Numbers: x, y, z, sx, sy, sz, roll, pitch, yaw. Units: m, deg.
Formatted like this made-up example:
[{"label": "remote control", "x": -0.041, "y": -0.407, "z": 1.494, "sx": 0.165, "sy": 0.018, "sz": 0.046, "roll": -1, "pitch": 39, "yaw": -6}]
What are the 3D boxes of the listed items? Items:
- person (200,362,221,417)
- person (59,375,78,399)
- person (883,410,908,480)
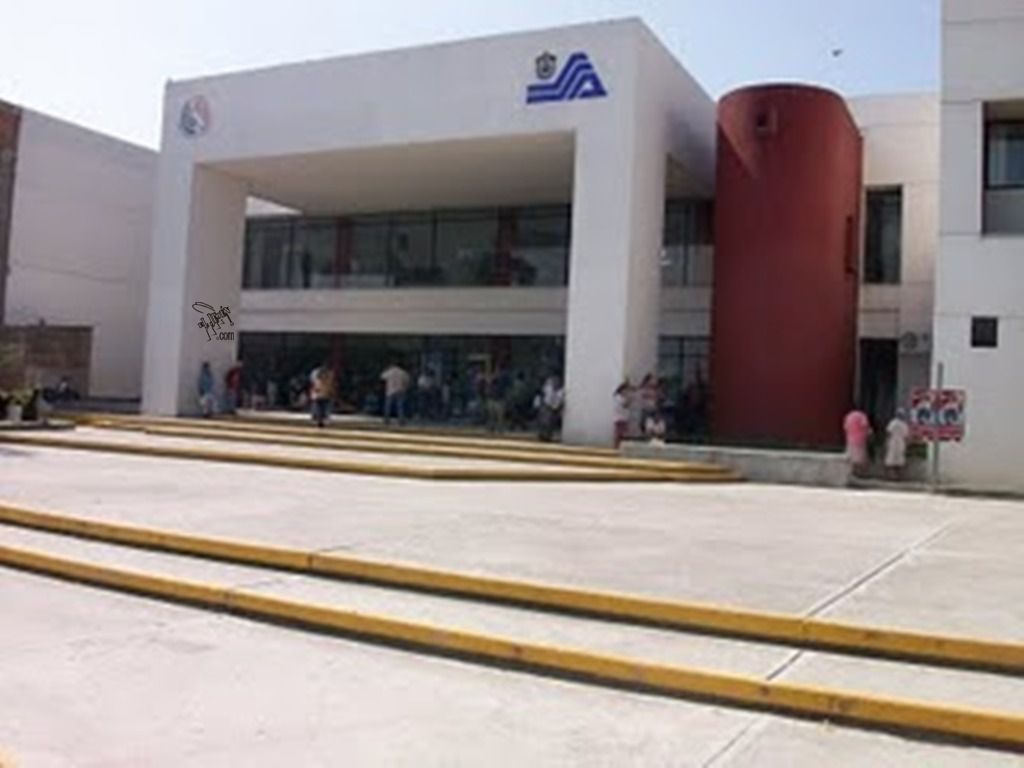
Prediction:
[{"label": "person", "x": -9.923, "y": 0.191, "z": 25.063, "sx": 0.639, "sy": 1.758, "sz": 0.919, "roll": 4, "pitch": -3, "yaw": -24}, {"label": "person", "x": -15.993, "y": 0.107, "z": 27.725, "sx": 0.416, "sy": 0.854, "sz": 0.685, "roll": -10, "pitch": -8, "yaw": 41}, {"label": "person", "x": 9.380, "y": 1.504, "z": 18.658, "sx": 0.510, "sy": 1.730, "sz": 0.792, "roll": 1, "pitch": -3, "yaw": 28}]
